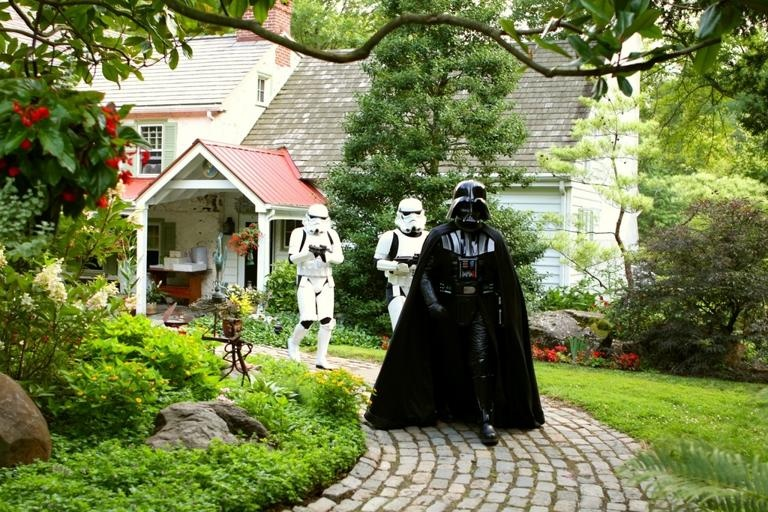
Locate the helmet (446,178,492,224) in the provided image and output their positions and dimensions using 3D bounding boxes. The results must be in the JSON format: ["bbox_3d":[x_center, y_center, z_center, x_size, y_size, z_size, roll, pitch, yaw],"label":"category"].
[{"bbox_3d":[0.984,-0.596,8.157,0.469,0.436,0.514,2,-9,-2],"label":"helmet"}]

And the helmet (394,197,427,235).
[{"bbox_3d":[0.361,-0.532,9.885,0.444,0.465,0.492,0,-2,-5],"label":"helmet"}]

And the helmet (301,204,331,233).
[{"bbox_3d":[-1.034,-0.568,10.758,0.420,0.398,0.435,3,-7,-4],"label":"helmet"}]

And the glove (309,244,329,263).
[{"bbox_3d":[-0.964,-0.058,10.369,0.226,0.218,0.100,5,-3,-13],"label":"glove"}]

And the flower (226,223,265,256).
[{"bbox_3d":[-3.201,-0.327,16.106,0.755,0.636,0.687,-15,7,-24],"label":"flower"}]

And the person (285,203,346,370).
[{"bbox_3d":[-1.054,0.440,10.680,0.789,2.443,0.639,1,5,-7],"label":"person"}]

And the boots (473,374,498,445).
[{"bbox_3d":[1.117,1.656,7.685,0.233,0.695,0.403,1,5,-5],"label":"boots"}]

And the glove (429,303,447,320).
[{"bbox_3d":[0.601,0.613,7.890,0.138,0.180,0.139,-37,0,-6],"label":"glove"}]

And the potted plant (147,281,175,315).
[{"bbox_3d":[-5.887,1.105,18.445,0.844,0.639,0.926,-1,4,-33],"label":"potted plant"}]

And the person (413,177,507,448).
[{"bbox_3d":[0.888,0.565,7.873,1.023,2.827,0.646,4,5,24],"label":"person"}]

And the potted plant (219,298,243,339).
[{"bbox_3d":[-1.991,0.812,9.143,0.272,0.455,0.467,1,5,-14],"label":"potted plant"}]
